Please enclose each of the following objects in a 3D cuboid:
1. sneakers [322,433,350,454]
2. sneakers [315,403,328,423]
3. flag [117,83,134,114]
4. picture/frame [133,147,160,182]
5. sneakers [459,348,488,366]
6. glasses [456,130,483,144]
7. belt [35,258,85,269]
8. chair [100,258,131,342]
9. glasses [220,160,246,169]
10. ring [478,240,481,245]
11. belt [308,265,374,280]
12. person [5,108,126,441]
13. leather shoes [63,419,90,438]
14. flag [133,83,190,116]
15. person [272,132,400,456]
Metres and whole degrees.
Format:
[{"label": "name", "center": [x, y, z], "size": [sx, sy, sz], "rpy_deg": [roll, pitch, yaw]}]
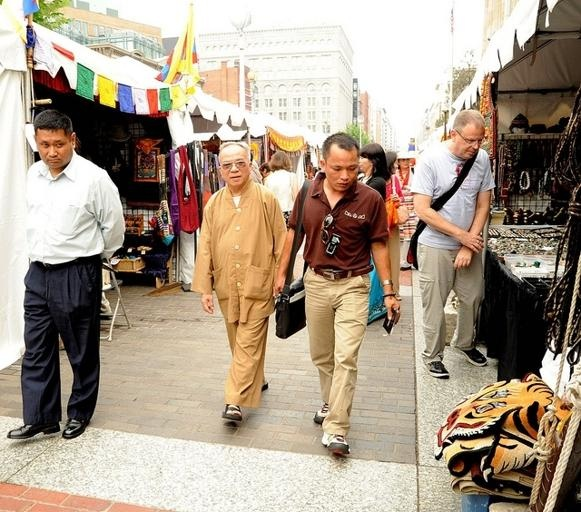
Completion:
[{"label": "sneakers", "center": [0.296, 1.230, 3.209], "size": [0.089, 0.119, 0.250], "rpy_deg": [1, 10, -18]}, {"label": "sneakers", "center": [0.243, 1.204, 3.722], "size": [0.069, 0.081, 0.186], "rpy_deg": [5, 16, 11]}, {"label": "flag", "center": [-2.173, -2.103, 6.402], "size": [0.041, 0.422, 0.423], "rpy_deg": [3, 3, 16]}, {"label": "picture/frame", "center": [-2.419, -1.565, 8.213], "size": [0.560, 0.786, 0.079], "rpy_deg": [1, 2, 10]}, {"label": "sneakers", "center": [1.765, 0.955, 4.765], "size": [0.126, 0.121, 0.311], "rpy_deg": [-17, 23, -34]}, {"label": "glasses", "center": [1.478, -0.998, 4.043], "size": [0.140, 0.046, 0.148], "rpy_deg": [-1, 26, -25]}, {"label": "belt", "center": [-1.645, 0.060, 3.408], "size": [0.349, 0.086, 0.074], "rpy_deg": [0, 8, 2]}, {"label": "chair", "center": [-2.451, 0.597, 6.607], "size": [0.476, 0.792, 0.427], "rpy_deg": [-15, 13, -31]}, {"label": "glasses", "center": [-0.435, -0.692, 3.679], "size": [0.179, 0.072, 0.069], "rpy_deg": [0, 8, 0]}, {"label": "ring", "center": [1.633, -0.118, 4.181], "size": [0.020, 0.021, 0.007], "rpy_deg": [21, 29, 7]}, {"label": "belt", "center": [0.335, 0.116, 3.351], "size": [0.449, 0.091, 0.162], "rpy_deg": [1, 8, 10]}, {"label": "person", "center": [-1.566, 0.132, 3.474], "size": [0.705, 2.302, 0.364], "rpy_deg": [-3, 8, -20]}, {"label": "leather shoes", "center": [-1.551, 1.249, 3.517], "size": [0.068, 0.083, 0.208], "rpy_deg": [3, -5, 3]}, {"label": "flag", "center": [-1.881, -2.321, 7.082], "size": [0.174, 0.567, 1.222], "rpy_deg": [2, 8, 19]}, {"label": "person", "center": [0.362, 0.229, 3.432], "size": [0.692, 2.141, 0.773], "rpy_deg": [-5, 9, -33]}]
